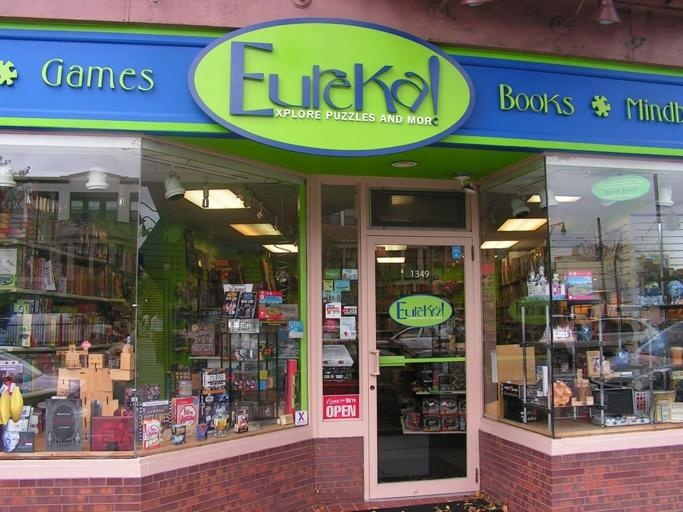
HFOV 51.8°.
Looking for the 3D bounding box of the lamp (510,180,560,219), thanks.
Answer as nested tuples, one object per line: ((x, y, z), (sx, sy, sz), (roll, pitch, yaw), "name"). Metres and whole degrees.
((2.067, -0.576, 7.675), (0.223, 0.320, 0.542), (1, -14, -39), "lamp")

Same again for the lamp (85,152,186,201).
((-2.046, -0.708, 7.022), (0.943, 0.297, 0.108), (-1, -8, -15), "lamp")
